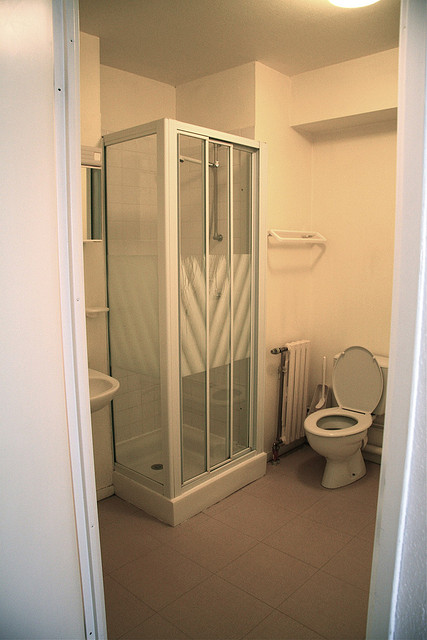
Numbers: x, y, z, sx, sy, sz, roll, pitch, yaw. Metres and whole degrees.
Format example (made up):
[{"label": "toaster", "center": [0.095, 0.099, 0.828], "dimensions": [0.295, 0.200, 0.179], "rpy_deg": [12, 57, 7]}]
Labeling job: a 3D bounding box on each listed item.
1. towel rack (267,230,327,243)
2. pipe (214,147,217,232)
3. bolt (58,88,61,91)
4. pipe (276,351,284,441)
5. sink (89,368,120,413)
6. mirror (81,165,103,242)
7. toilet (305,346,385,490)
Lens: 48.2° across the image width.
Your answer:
[{"label": "towel rack", "center": [0.546, -0.546, 3.110], "dimensions": [0.143, 0.087, 0.638], "rpy_deg": [4, 7, 38]}, {"label": "pipe", "center": [0.009, -0.672, 2.468], "dimensions": [0.008, 0.426, 0.030], "rpy_deg": [3, 6, 34]}, {"label": "bolt", "center": [-0.345, -0.516, 1.067], "dimensions": [0.005, 0.006, 0.001], "rpy_deg": [-12, 14, -22]}, {"label": "pipe", "center": [0.433, 0.505, 3.141], "dimensions": [0.032, 0.575, 0.062], "rpy_deg": [1, 5, 9]}, {"label": "sink", "center": [-0.553, 0.330, 2.248], "dimensions": [0.078, 0.223, 0.241], "rpy_deg": [3, -9, -34]}, {"label": "mirror", "center": [-0.568, -0.546, 2.242], "dimensions": [0.093, 0.340, 0.094], "rpy_deg": [-2, 5, -15]}, {"label": "toilet", "center": [0.786, 0.578, 2.885], "dimensions": [0.442, 0.780, 0.576], "rpy_deg": [2, 6, 21]}]
